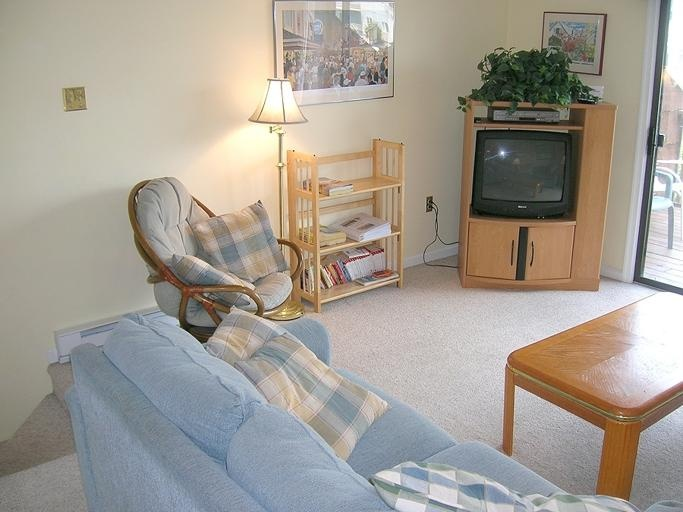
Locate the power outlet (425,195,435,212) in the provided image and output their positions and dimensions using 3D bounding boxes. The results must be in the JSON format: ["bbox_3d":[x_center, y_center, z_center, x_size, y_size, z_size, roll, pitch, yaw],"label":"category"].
[{"bbox_3d":[0.864,-0.524,5.093,0.132,0.180,0.030,-15,24,-40],"label":"power outlet"}]

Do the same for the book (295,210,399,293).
[{"bbox_3d":[0.052,0.041,4.458,1.000,0.708,0.573,-14,22,-38],"label":"book"}]

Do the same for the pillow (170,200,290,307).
[{"bbox_3d":[-0.685,0.031,3.575,0.674,0.663,0.204,-9,-11,-39],"label":"pillow"}]

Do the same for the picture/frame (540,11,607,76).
[{"bbox_3d":[2.084,-1.879,4.590,0.064,0.590,0.660,-11,22,-34],"label":"picture/frame"}]

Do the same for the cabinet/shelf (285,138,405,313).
[{"bbox_3d":[0.003,-0.254,4.387,1.097,1.533,0.485,-16,23,-38],"label":"cabinet/shelf"}]

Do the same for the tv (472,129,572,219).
[{"bbox_3d":[1.501,-0.708,4.712,1.107,0.988,0.664,3,13,13],"label":"tv"}]

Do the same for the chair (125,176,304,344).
[{"bbox_3d":[-0.836,-0.105,3.654,1.125,1.157,0.924,10,29,16],"label":"chair"}]
